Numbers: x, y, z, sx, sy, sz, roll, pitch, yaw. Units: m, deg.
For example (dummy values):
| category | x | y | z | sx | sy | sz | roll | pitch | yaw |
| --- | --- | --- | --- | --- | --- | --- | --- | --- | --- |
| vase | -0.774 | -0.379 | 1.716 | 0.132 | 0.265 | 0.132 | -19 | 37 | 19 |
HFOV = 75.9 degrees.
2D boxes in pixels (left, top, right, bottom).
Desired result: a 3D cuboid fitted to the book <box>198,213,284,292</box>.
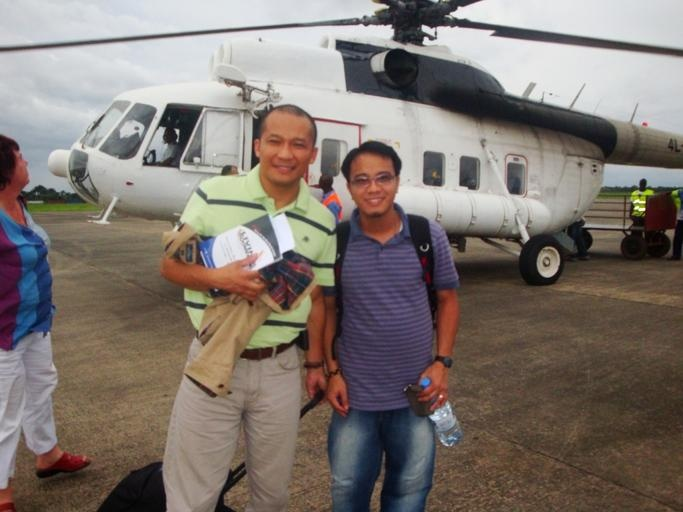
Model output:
| category | x | y | z | sx | sy | sz | roll | pitch | yaw |
| --- | --- | --- | --- | --- | --- | --- | --- | --- | --- |
| book | -0.490 | -0.084 | 2.178 | 0.515 | 0.122 | 0.304 | -11 | -28 | -24 |

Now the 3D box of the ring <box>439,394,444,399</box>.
| category | x | y | z | sx | sy | sz | roll | pitch | yaw |
| --- | --- | --- | --- | --- | --- | --- | --- | --- | --- |
| ring | 0.530 | 0.739 | 2.320 | 0.027 | 0.028 | 0.007 | -7 | 13 | -36 |

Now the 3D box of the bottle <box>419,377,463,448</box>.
| category | x | y | z | sx | sy | sz | roll | pitch | yaw |
| --- | --- | --- | --- | --- | --- | --- | --- | --- | --- |
| bottle | 0.573 | 0.876 | 2.408 | 0.157 | 0.501 | 0.155 | -13 | 43 | 12 |

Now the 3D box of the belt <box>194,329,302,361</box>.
| category | x | y | z | sx | sy | sz | roll | pitch | yaw |
| --- | --- | --- | --- | --- | --- | --- | --- | --- | --- |
| belt | -0.489 | 0.438 | 2.164 | 0.247 | 0.064 | 0.186 | -3 | 2 | -44 |

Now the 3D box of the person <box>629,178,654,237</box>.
| category | x | y | z | sx | sy | sz | roll | pitch | yaw |
| --- | --- | --- | --- | --- | --- | --- | --- | --- | --- |
| person | 9.582 | -1.505 | 13.976 | 0.587 | 1.909 | 0.611 | -28 | 29 | -35 |

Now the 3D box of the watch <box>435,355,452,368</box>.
| category | x | y | z | sx | sy | sz | roll | pitch | yaw |
| --- | --- | --- | --- | --- | --- | --- | --- | --- | --- |
| watch | 0.569 | 0.580 | 2.441 | 0.083 | 0.059 | 0.090 | 19 | -5 | -15 |
